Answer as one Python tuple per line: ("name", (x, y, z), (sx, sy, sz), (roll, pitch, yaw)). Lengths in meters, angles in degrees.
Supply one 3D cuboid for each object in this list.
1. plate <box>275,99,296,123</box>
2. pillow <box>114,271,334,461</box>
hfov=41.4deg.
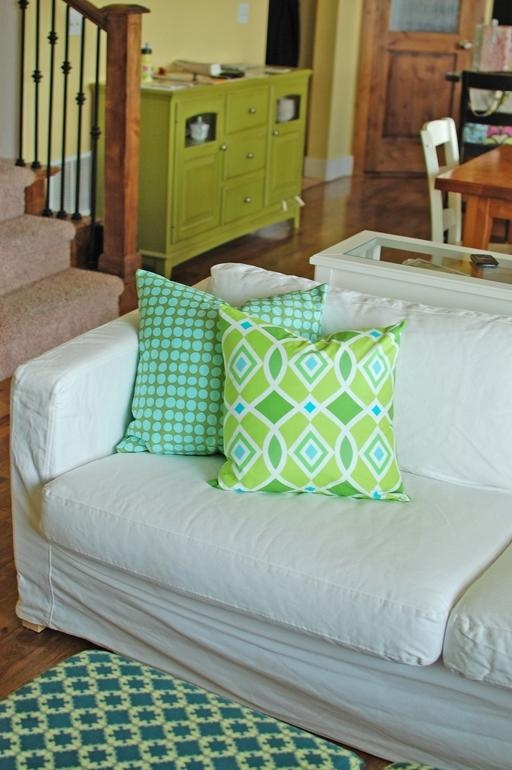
("plate", (0.204, -1.939, 4.793), (0.115, 0.196, 0.199), (13, 25, 29))
("pillow", (-0.073, -0.027, 1.500), (0.511, 0.447, 0.146), (4, -2, -4))
